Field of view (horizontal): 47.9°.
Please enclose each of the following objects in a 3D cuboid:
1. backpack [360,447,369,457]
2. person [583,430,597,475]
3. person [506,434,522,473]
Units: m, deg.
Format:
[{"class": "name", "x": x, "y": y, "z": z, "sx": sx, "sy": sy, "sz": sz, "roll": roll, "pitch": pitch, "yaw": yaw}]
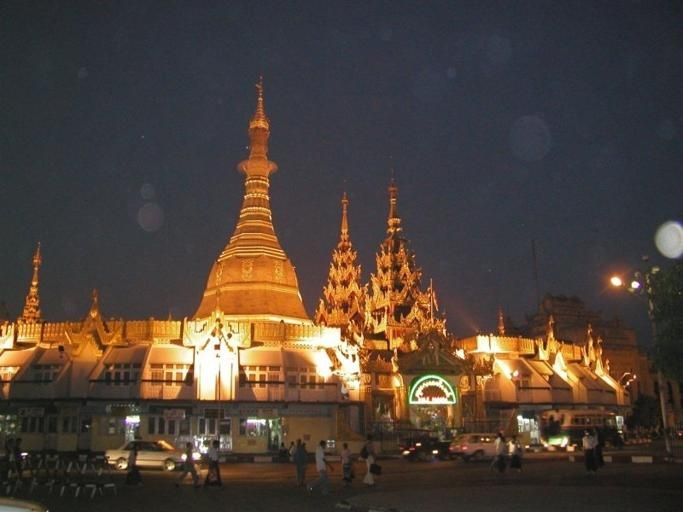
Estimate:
[{"class": "backpack", "x": 0.944, "y": 8.242, "z": 32.072, "sx": 0.315, "sy": 0.451, "sz": 0.450, "roll": 4, "pitch": -6, "yaw": -4}, {"class": "person", "x": 11.239, "y": 8.868, "z": 34.843, "sx": 0.476, "sy": 1.851, "sz": 0.872, "roll": -7, "pitch": -24, "yaw": 15}, {"class": "person", "x": 8.202, "y": 9.330, "z": 36.593, "sx": 0.777, "sy": 1.617, "sz": 0.532, "roll": -1, "pitch": 15, "yaw": 16}]
